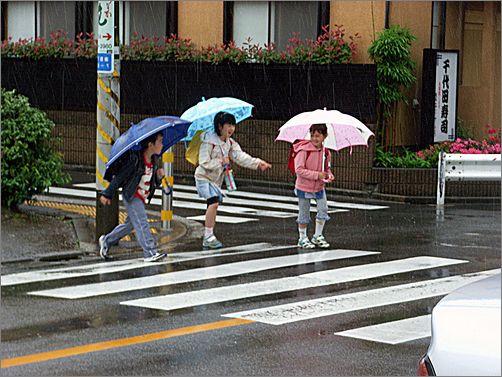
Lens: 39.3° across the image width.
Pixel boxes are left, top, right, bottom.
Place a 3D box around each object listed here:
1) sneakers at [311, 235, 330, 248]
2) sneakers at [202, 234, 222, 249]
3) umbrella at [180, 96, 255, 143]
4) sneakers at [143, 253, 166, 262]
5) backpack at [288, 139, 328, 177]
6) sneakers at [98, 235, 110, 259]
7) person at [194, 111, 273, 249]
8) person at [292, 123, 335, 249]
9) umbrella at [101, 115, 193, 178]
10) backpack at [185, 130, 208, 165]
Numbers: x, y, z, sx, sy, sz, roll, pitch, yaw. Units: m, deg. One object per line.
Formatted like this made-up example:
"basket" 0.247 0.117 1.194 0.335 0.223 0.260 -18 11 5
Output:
"sneakers" 1.100 0.835 11.216 0.310 0.174 0.140 22 18 35
"sneakers" -0.617 0.852 11.121 0.297 0.190 0.150 4 7 38
"umbrella" -0.462 -1.292 11.505 0.978 0.465 1.127 15 -7 6
"sneakers" -1.377 1.016 10.102 0.286 0.136 0.132 -17 -6 -3
"backpack" 0.868 -0.547 11.196 0.517 0.637 0.430 -7 18 -5
"sneakers" -2.163 0.908 10.294 0.127 0.408 0.117 -2 2 5
"person" -0.439 -0.138 11.217 0.903 2.134 0.557 0 6 -7
"person" 0.977 -0.029 11.081 0.680 1.984 0.689 3 6 19
"umbrella" -1.469 -0.561 10.160 1.293 0.936 0.756 -3 8 -30
"backpack" -0.905 -0.656 11.249 0.138 0.530 0.388 15 10 -16
